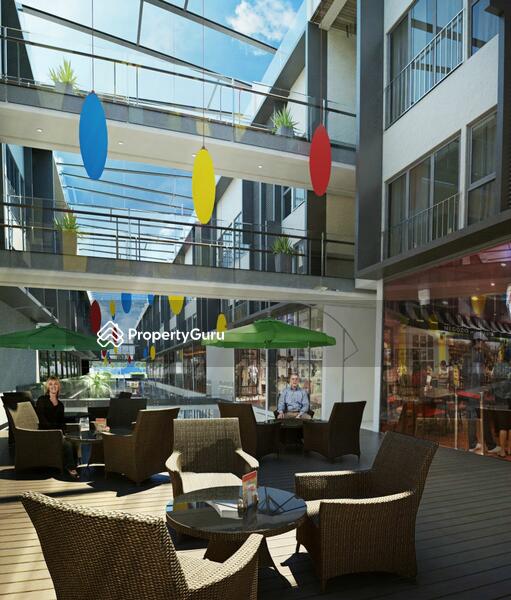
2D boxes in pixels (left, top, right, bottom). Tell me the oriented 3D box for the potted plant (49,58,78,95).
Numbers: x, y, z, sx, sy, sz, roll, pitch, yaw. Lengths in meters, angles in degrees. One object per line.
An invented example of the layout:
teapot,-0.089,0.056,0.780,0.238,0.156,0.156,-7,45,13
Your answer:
potted plant,-3.112,-3.616,9.407,0.373,0.615,0.460,-1,-7,-7

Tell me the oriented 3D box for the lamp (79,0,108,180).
lamp,-1.575,-1.620,5.538,0.246,0.911,0.344,1,-4,-18

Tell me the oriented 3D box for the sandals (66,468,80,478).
sandals,-2.066,1.942,6.464,0.075,0.116,0.237,5,-8,-32

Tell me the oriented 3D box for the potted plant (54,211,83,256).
potted plant,-3.331,-1.174,10.096,0.387,0.909,0.602,1,-4,-21

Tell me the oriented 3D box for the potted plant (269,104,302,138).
potted plant,0.577,-3.434,11.023,0.466,0.721,0.516,2,-5,-13
